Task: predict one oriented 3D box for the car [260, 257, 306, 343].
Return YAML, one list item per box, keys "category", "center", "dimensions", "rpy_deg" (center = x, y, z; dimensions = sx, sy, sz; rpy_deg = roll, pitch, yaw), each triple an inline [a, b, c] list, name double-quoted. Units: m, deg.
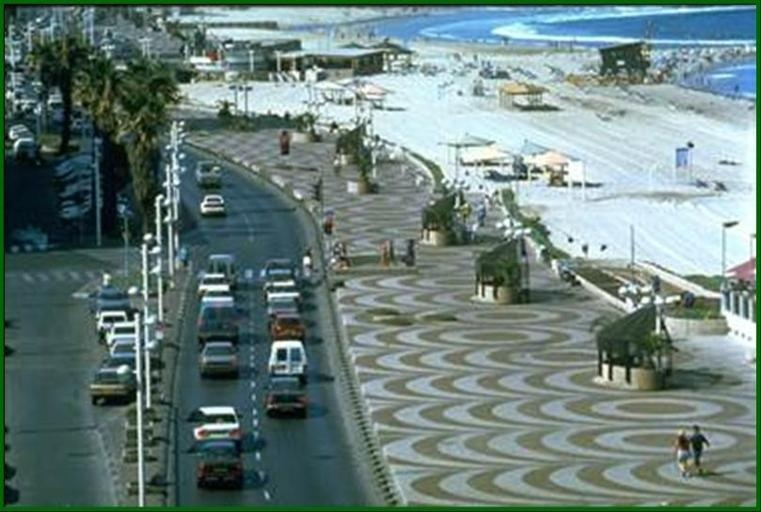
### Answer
- category: "car"
  center: [-6.810, 3.541, 110.149]
  dimensions: [1.992, 1.706, 7.300]
  rpy_deg: [-1, 15, -4]
